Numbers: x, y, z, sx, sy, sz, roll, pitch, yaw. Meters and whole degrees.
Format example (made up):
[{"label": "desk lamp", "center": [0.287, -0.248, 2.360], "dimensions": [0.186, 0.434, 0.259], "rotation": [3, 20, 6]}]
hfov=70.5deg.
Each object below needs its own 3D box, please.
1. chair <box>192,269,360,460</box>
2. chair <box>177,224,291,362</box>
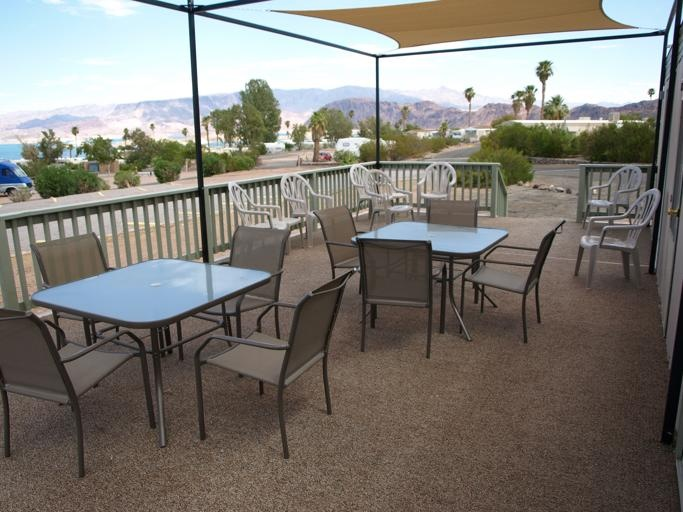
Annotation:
[{"label": "chair", "center": [-0.347, 0.545, 3.228], "dimensions": [1.003, 1.384, 0.921], "rotation": [10, 18, 26]}, {"label": "chair", "center": [-0.702, 0.203, 3.857], "dimensions": [0.755, 1.182, 0.873], "rotation": [8, 13, 29]}]
